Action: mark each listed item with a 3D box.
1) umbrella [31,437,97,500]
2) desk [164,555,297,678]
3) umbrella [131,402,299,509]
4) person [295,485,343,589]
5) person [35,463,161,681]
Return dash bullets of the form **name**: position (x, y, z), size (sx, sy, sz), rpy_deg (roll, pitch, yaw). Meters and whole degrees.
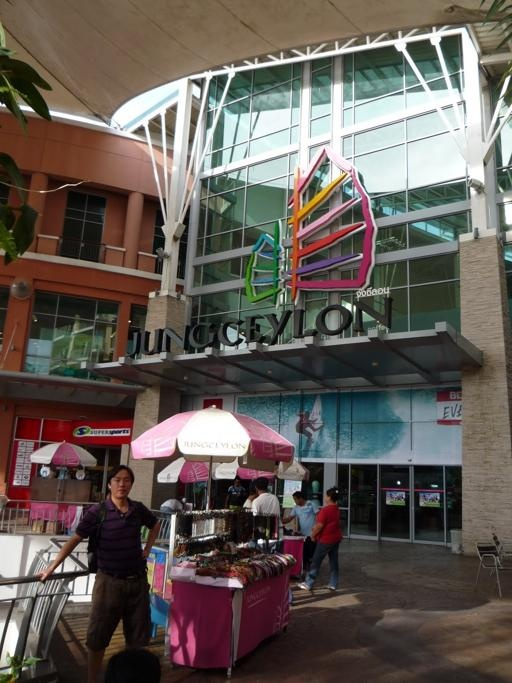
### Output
- **umbrella**: position (-6.934, 4.550, 17.780), size (2.282, 1.942, 2.209), rpy_deg (-4, -16, 26)
- **desk**: position (-0.288, 2.849, 5.191), size (0.507, 0.520, 1.289), rpy_deg (-7, -17, 23)
- **umbrella**: position (-0.660, 1.232, 6.422), size (1.829, 1.136, 1.659), rpy_deg (14, -19, -39)
- **person**: position (1.180, 3.498, 8.878), size (0.601, 1.810, 0.917), rpy_deg (1, -12, 5)
- **person**: position (-1.180, 1.831, 3.988), size (0.867, 1.645, 0.422), rpy_deg (9, -14, -28)
